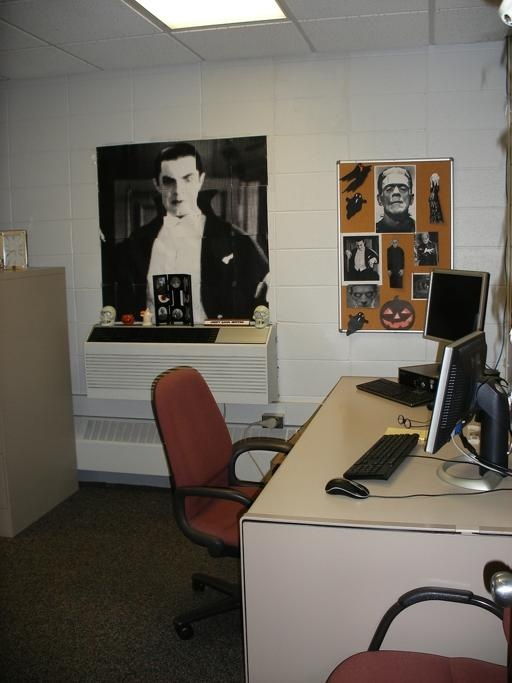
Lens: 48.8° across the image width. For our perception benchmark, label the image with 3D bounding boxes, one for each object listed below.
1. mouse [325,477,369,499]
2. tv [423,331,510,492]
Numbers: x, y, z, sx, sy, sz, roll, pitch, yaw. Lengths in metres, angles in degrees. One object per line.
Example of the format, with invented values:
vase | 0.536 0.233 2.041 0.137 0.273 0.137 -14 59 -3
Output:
mouse | 0.254 0.398 1.547 0.087 0.028 0.053 -4 2 29
tv | 0.647 0.228 1.758 0.228 0.439 0.387 5 12 36
